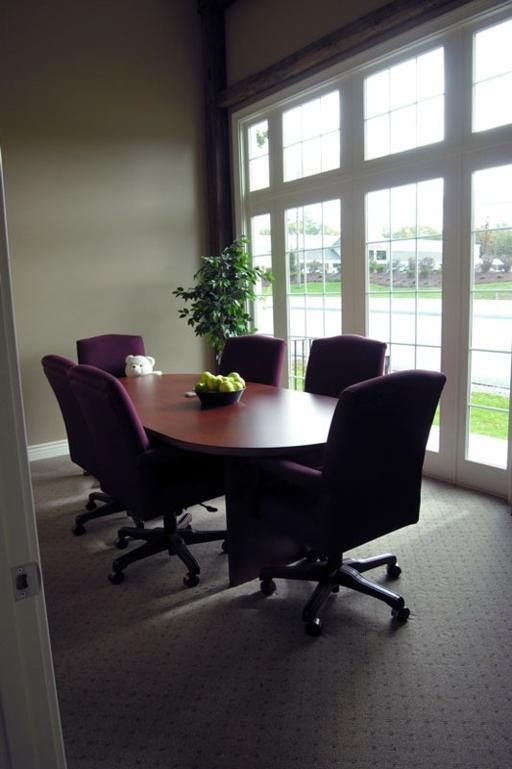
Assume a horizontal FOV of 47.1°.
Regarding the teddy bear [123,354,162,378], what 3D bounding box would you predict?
[{"bbox_3d":[-0.764,-0.080,3.873,0.249,0.183,0.145,1,-5,-10],"label":"teddy bear"}]
